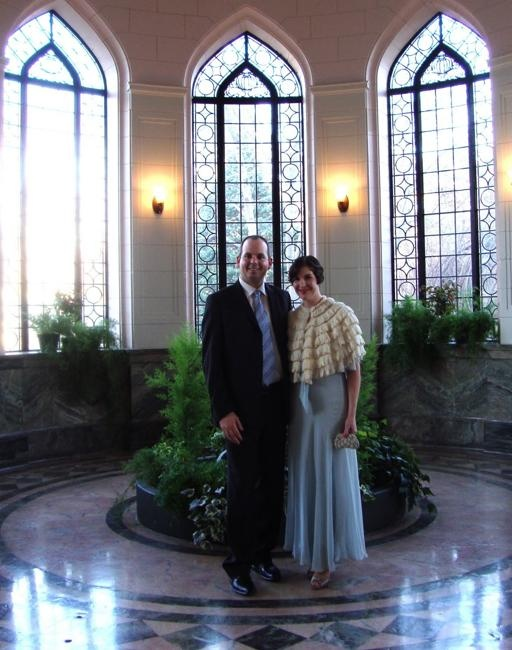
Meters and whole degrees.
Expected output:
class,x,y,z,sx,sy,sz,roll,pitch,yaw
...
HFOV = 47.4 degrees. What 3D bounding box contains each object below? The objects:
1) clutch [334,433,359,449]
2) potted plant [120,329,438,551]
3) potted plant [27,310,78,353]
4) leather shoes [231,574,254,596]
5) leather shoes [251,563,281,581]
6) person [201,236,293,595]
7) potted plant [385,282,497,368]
class,x,y,z,sx,sy,sz,roll,pitch,yaw
clutch,0.431,0.555,2.802,0.092,0.080,0.037,-1,-6,15
potted plant,-0.013,0.877,4.207,1.685,0.966,1.619,1,4,5
potted plant,-2.340,0.061,6.909,0.557,0.510,0.434,0,2,2
leather shoes,-0.067,1.236,2.781,0.131,0.095,0.088,-2,0,15
leather shoes,0.069,1.276,3.023,0.058,0.054,0.153,4,-10,-25
person,-0.018,0.431,2.920,0.293,1.709,0.513,-2,0,42
potted plant,2.235,0.075,7.272,1.399,1.316,0.998,3,-3,-1
